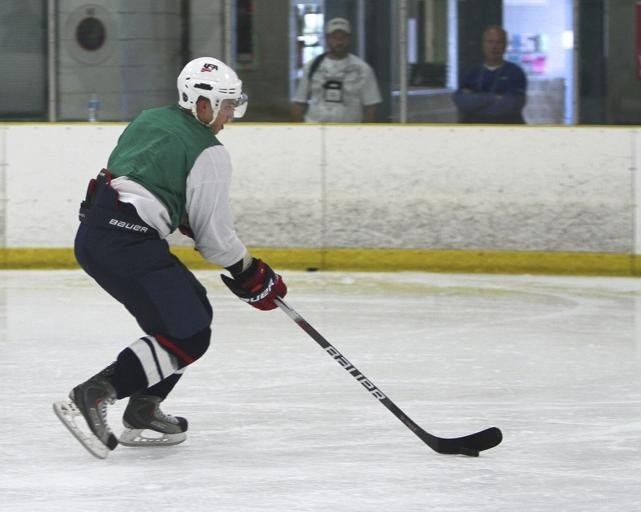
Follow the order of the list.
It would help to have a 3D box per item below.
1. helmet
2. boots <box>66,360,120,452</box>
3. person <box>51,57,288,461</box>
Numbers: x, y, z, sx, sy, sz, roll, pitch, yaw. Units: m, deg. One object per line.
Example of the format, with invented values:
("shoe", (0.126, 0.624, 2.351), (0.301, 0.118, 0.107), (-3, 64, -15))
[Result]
("helmet", (-0.520, -0.715, 5.722), (0.382, 0.236, 0.252), (-3, 12, -7))
("boots", (-0.928, 0.631, 5.481), (0.197, 0.374, 0.139), (0, 10, -25))
("person", (-0.648, -0.009, 5.604), (0.937, 1.652, 0.447), (1, 10, -18))
